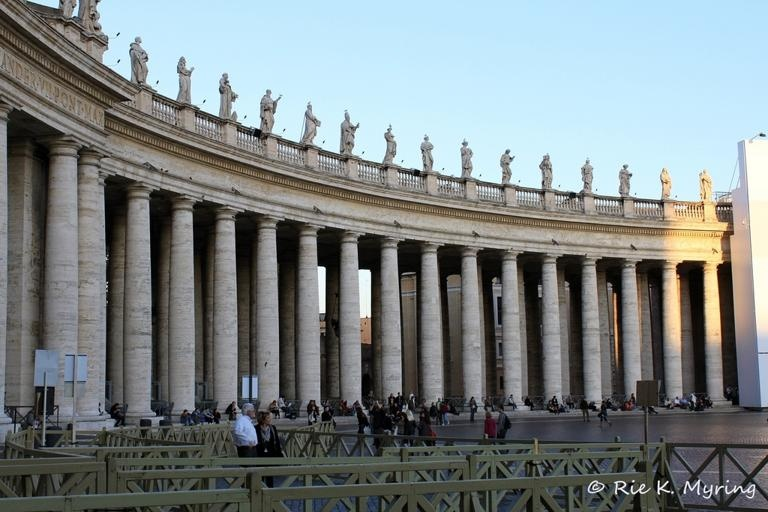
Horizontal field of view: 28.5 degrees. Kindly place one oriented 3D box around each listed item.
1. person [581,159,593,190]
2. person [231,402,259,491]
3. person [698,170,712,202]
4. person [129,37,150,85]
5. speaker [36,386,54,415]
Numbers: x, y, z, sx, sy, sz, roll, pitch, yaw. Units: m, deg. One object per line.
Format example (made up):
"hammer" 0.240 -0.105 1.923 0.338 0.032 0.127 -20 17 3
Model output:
"person" 13.615 -5.274 101.669 0.582 2.360 1.123 -1 -11 2
"person" -5.367 6.663 58.642 0.928 2.071 1.445 1 -11 -5
"person" 22.197 -4.802 104.649 0.718 2.137 0.768 -4 -12 17
"person" -12.852 -10.050 79.383 0.956 2.448 0.730 4 -12 -22
"speaker" -15.262 6.428 68.161 0.915 1.374 3.672 2 -10 -12
